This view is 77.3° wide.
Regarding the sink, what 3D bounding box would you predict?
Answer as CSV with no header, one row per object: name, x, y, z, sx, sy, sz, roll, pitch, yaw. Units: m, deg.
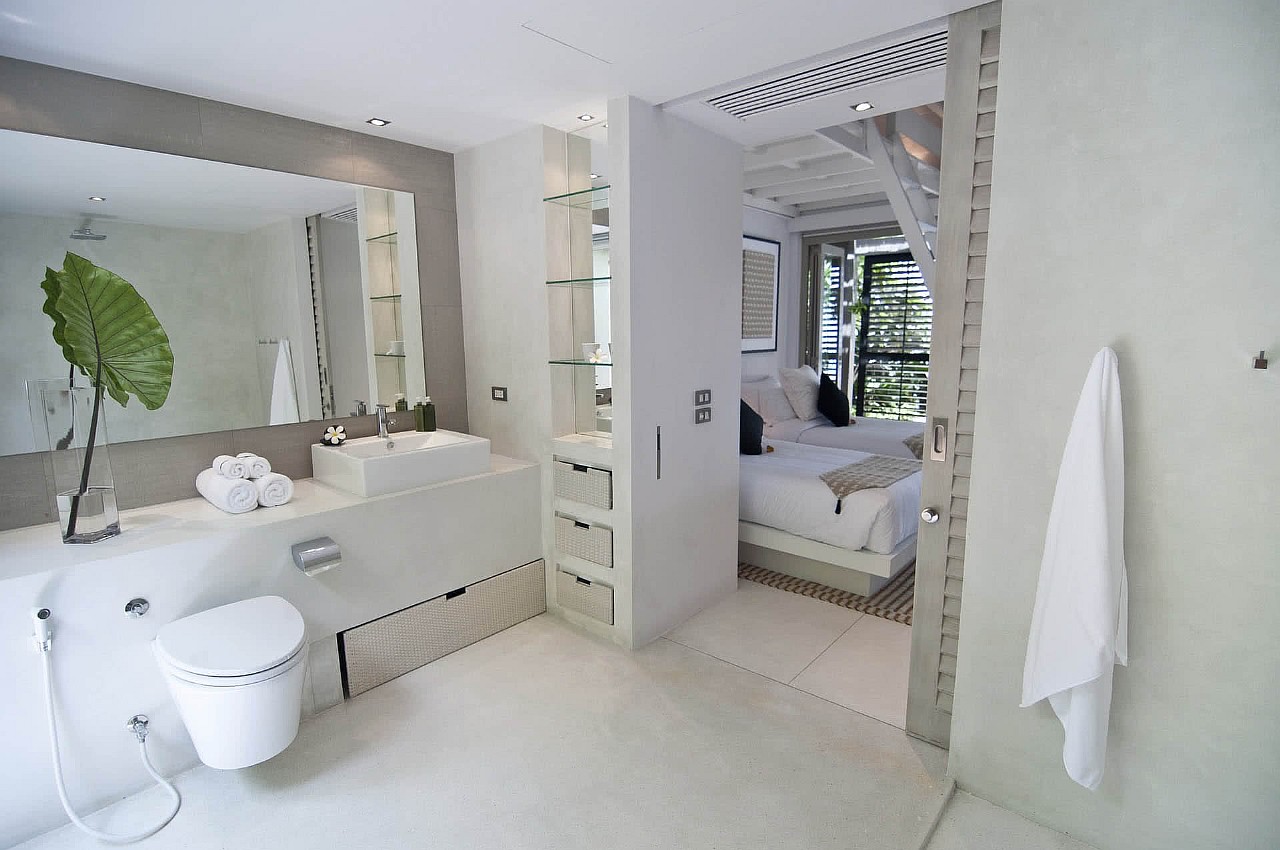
sink,-1.355,0.193,4.406,0.473,0.146,0.538,10,14,41

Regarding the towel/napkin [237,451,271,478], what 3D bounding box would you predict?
towel/napkin,-1.984,0.193,4.078,0.130,0.051,0.130,12,16,36

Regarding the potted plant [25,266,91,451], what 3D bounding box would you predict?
potted plant,-2.670,-0.317,3.682,0.155,0.834,0.234,-10,11,-34

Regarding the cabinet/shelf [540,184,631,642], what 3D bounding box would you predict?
cabinet/shelf,-0.290,-0.038,4.504,0.347,2.491,0.611,-10,11,-36

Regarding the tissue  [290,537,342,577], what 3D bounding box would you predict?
tissue ,-1.575,0.610,3.864,0.180,0.088,0.179,29,28,34

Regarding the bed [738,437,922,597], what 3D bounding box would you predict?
bed,1.202,0.488,5.134,0.933,0.382,0.979,6,14,37

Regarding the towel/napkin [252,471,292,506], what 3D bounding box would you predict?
towel/napkin,-1.851,0.331,4.022,0.170,0.160,0.099,-7,10,-27

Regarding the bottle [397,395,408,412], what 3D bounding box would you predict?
bottle,-1.427,-0.135,4.773,0.011,0.106,0.078,19,25,31

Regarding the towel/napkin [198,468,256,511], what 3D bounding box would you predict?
towel/napkin,-2.060,0.315,3.966,0.217,0.086,0.218,23,15,18

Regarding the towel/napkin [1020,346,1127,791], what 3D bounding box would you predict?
towel/napkin,1.735,0.583,3.172,0.385,1.756,0.289,-1,9,12
